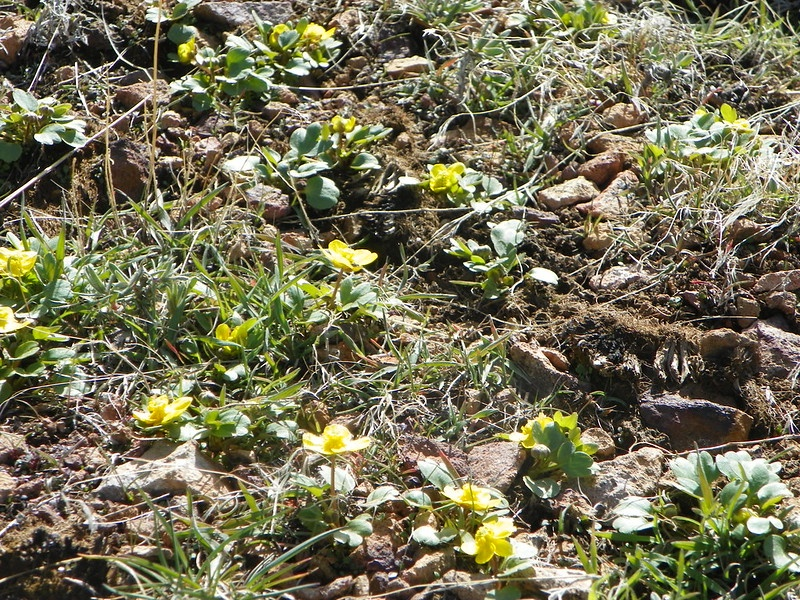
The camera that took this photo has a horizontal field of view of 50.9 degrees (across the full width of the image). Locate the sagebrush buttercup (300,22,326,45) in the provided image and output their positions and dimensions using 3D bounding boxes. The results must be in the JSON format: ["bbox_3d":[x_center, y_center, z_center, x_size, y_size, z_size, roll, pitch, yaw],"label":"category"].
[{"bbox_3d":[-0.368,-1.120,3.532,0.142,0.072,0.068,-18,53,-32],"label":"sagebrush buttercup"}]

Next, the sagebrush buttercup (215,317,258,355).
[{"bbox_3d":[-0.538,0.113,2.715,0.104,0.118,0.117,21,42,4],"label":"sagebrush buttercup"}]

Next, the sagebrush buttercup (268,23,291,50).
[{"bbox_3d":[-0.502,-1.093,3.506,0.102,0.101,0.063,-20,61,-29],"label":"sagebrush buttercup"}]

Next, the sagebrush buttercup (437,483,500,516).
[{"bbox_3d":[0.198,0.572,2.434,0.148,0.044,0.109,6,1,-38],"label":"sagebrush buttercup"}]

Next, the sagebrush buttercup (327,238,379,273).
[{"bbox_3d":[-0.174,-0.124,2.744,0.155,0.053,0.119,19,30,-1],"label":"sagebrush buttercup"}]

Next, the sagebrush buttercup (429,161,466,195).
[{"bbox_3d":[0.186,-0.455,3.183,0.140,0.056,0.121,-24,42,9],"label":"sagebrush buttercup"}]

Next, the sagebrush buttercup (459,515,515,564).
[{"bbox_3d":[0.252,0.675,2.372,0.113,0.050,0.123,-17,13,-17],"label":"sagebrush buttercup"}]

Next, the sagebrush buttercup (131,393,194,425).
[{"bbox_3d":[-0.698,0.326,2.482,0.118,0.049,0.128,-11,4,-30],"label":"sagebrush buttercup"}]
